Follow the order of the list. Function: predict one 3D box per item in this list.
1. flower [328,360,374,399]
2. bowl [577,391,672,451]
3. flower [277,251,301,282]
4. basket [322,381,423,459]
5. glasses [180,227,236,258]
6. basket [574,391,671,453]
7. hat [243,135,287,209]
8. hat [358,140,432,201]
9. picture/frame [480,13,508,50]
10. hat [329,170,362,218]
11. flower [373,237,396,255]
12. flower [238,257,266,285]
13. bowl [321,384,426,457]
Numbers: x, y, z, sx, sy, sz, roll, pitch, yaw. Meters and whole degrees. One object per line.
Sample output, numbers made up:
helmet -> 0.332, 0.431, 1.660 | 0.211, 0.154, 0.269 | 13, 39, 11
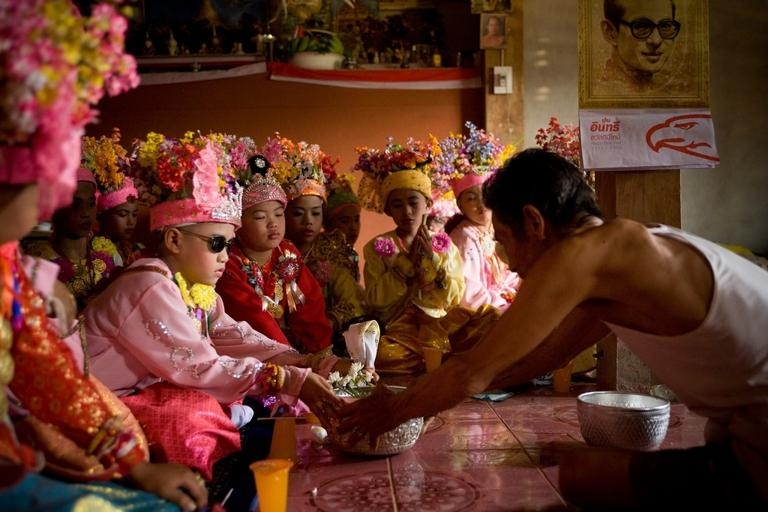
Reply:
flower -> -0.148, 0.579, 2.959 | 0.167, 0.091, 0.164 | -1, -2, 0
bowl -> 1.080, 0.775, 2.889 | 0.410, 0.233, 0.432 | 0, -2, 0
flower -> -0.640, 0.073, 4.249 | 0.180, 0.171, 0.059 | 19, -14, -36
basket -> -0.056, 0.701, 2.779 | 0.358, 0.144, 0.346 | -7, -9, 30
glasses -> -0.829, -0.071, 2.970 | 0.148, 0.045, 0.138 | 16, 2, 14
basket -> 1.026, 0.691, 2.797 | 0.304, 0.169, 0.305 | 5, -7, -31
hat -> -0.755, -0.467, 3.894 | 0.292, 0.330, 0.357 | -1, -7, -11
hat -> 0.135, -0.673, 5.256 | 0.564, 0.535, 0.471 | 0, 6, 29
picture/frame -> 1.106, -2.256, 6.391 | 0.376, 0.411, 0.058 | -1, 5, -11
hat -> -0.364, -0.493, 5.381 | 0.329, 0.302, 0.318 | 2, -31, -8
flower -> 0.010, -0.062, 4.866 | 0.145, 0.076, 0.138 | 0, 41, -9
flower -> -0.840, 0.100, 4.031 | 0.042, 0.155, 0.163 | -10, -1, 29
bowl -> -0.043, 0.685, 2.733 | 0.363, 0.143, 0.341 | -3, -5, 0
